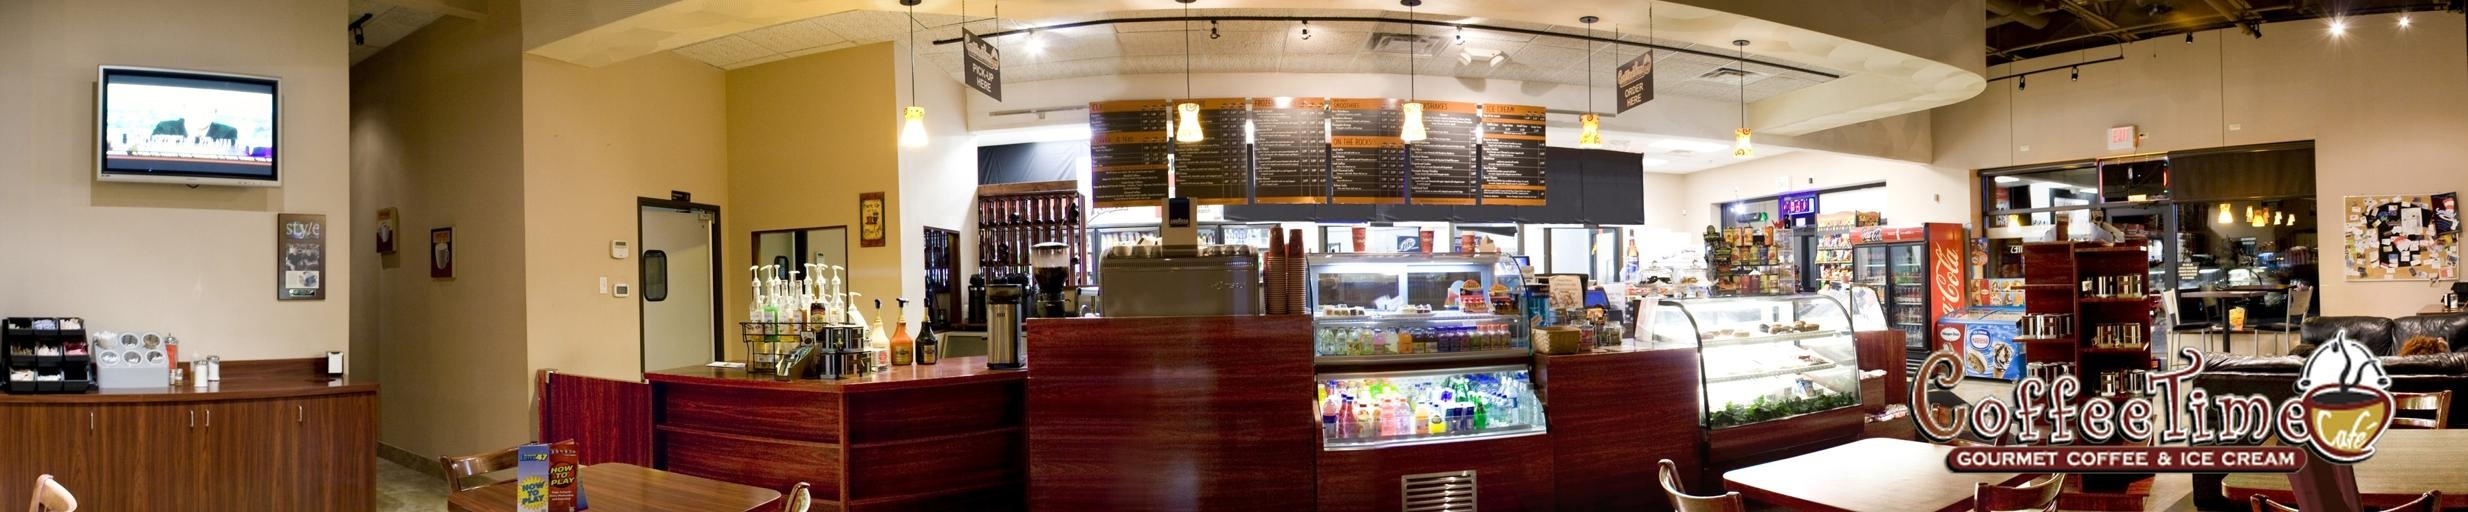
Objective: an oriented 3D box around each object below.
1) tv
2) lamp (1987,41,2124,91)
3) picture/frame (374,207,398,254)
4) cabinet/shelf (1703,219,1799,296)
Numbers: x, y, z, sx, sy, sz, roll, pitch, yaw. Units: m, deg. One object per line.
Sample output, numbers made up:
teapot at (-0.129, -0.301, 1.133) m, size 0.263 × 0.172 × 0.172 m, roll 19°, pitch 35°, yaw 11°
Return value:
tv at (-35.850, -4.476, 36.708) m, size 5.682 × 4.121 × 0.587 m, roll -3°, pitch -6°, yaw -4°
lamp at (32.510, -7.613, 42.089) m, size 4.436 × 0.474 × 0.408 m, roll -3°, pitch -16°, yaw 22°
picture/frame at (-30.873, -0.954, 39.042) m, size 1.193 × 1.701 × 0.215 m, roll -7°, pitch -6°, yaw 22°
cabinet/shelf at (22.732, 0.142, 42.984) m, size 4.132 × 2.746 × 4.842 m, roll 0°, pitch -2°, yaw -8°
